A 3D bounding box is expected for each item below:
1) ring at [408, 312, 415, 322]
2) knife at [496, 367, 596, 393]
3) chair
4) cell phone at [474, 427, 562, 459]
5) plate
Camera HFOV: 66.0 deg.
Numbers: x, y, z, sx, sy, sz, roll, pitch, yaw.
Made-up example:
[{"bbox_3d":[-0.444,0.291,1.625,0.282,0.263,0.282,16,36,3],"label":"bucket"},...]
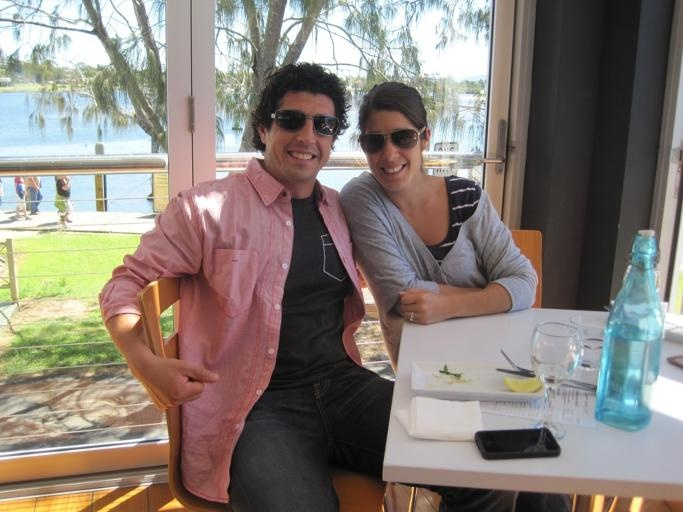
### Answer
[{"bbox_3d":[0.236,0.206,1.774,0.020,0.031,0.011,-3,-8,23],"label":"ring"},{"bbox_3d":[0.519,0.322,1.353,0.272,0.027,0.034,11,38,3],"label":"knife"},{"bbox_3d":[-0.268,0.384,1.736,0.780,0.612,0.534,-1,12,-1],"label":"chair"},{"bbox_3d":[0.393,0.422,1.184,0.124,0.020,0.077,-1,19,-1],"label":"cell phone"},{"bbox_3d":[0.319,0.333,1.381,0.207,0.027,0.140,1,19,3],"label":"plate"}]
